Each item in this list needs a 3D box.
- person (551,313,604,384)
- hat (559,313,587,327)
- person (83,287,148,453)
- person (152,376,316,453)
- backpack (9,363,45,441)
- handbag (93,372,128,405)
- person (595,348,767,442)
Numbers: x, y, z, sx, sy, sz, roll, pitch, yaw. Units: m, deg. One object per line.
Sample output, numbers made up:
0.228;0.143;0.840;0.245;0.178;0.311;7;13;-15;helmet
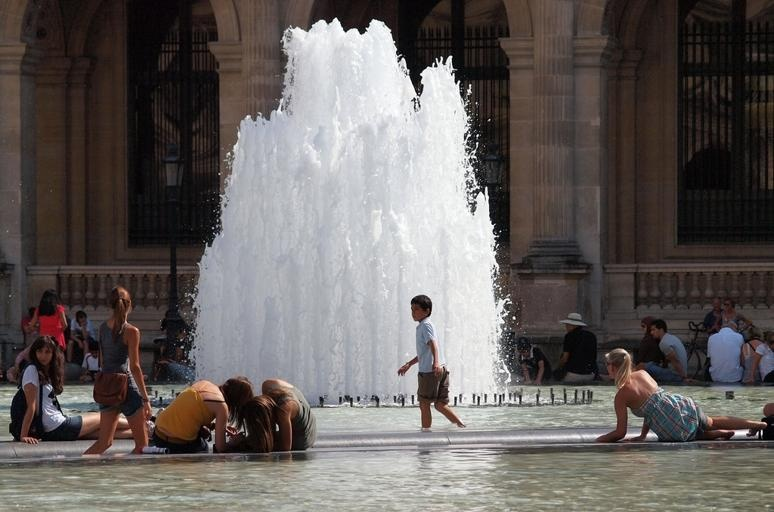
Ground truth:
3.416;1.659;32.280;0.752;1.222;0.631;-1;7;9;person
3.471;1.175;32.315;0.345;0.133;0.341;16;-13;-40;hat
-3.673;1.594;24.524;0.813;2.304;0.645;-4;8;-8;person
-2.073;2.205;24.565;2.127;1.104;0.450;-3;7;-3;person
-5.038;2.020;24.943;0.469;1.079;0.295;3;10;38;backpack
-3.722;1.792;24.365;0.496;0.432;0.186;0;-1;11;handbag
3.978;1.945;25.217;2.018;1.359;0.352;-4;8;-15;person
